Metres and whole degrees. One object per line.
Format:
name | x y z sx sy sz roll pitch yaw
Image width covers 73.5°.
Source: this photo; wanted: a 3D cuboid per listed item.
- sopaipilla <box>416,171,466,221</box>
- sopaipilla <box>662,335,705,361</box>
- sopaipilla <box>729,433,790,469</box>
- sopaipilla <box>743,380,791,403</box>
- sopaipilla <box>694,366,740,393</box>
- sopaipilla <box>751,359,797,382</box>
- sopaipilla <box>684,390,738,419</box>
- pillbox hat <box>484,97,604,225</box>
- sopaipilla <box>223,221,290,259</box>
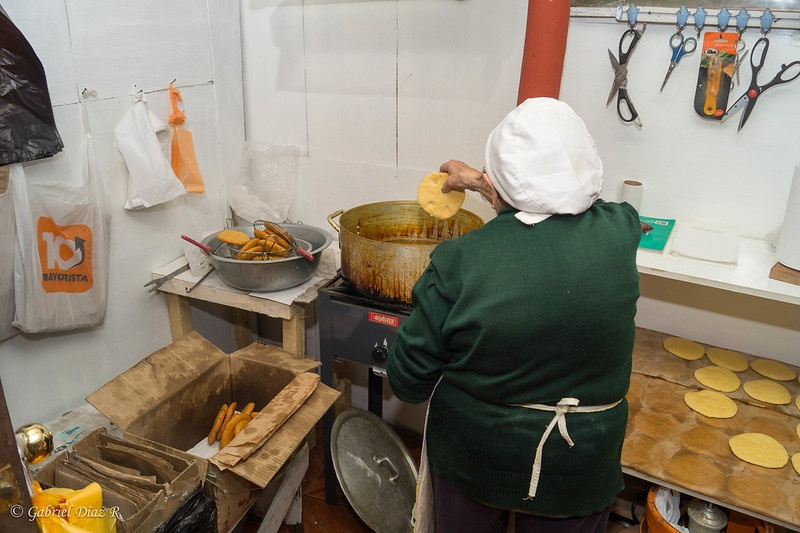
sopaipilla | 0.142 -0.261 1.964 0.160 0.168 0.038 -7 7 20
sopaipilla | 1.194 0.344 2.247 0.159 0.028 0.133 15 28 27
sopaipilla | 1.247 0.638 1.852 0.188 0.035 0.132 3 24 2
sopaipilla | 1.410 0.482 2.054 0.161 0.031 0.119 1 24 -2
sopaipilla | 1.252 0.442 2.111 0.166 0.035 0.128 9 25 14
sopaipilla | 1.498 0.415 2.142 0.159 0.022 0.121 19 29 33
sopaipilla | 1.173 0.520 2.014 0.184 0.038 0.121 2 24 0
pillbox hat | 0.392 -0.293 1.452 0.307 0.346 0.126 -4 -18 -3
sopaipilla | -0.619 -0.105 2.323 0.212 0.083 0.213 -3 19 -11
